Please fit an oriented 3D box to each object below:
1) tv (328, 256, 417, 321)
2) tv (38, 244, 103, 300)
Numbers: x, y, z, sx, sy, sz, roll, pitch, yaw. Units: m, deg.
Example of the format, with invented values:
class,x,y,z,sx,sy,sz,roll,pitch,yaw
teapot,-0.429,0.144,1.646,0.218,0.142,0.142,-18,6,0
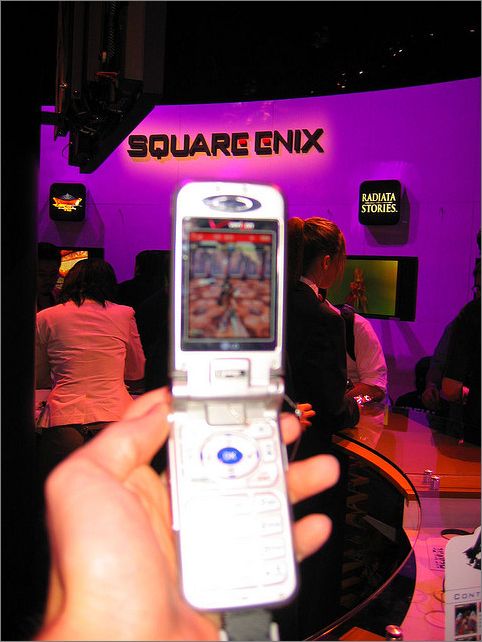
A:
class,x,y,z,sx,sy,sz,roll,pitch,yaw
tv,1.150,-0.277,4.494,0.550,0.400,0.074,5,7,37
tv,-1.036,-0.307,3.246,0.643,0.501,0.067,5,4,43
